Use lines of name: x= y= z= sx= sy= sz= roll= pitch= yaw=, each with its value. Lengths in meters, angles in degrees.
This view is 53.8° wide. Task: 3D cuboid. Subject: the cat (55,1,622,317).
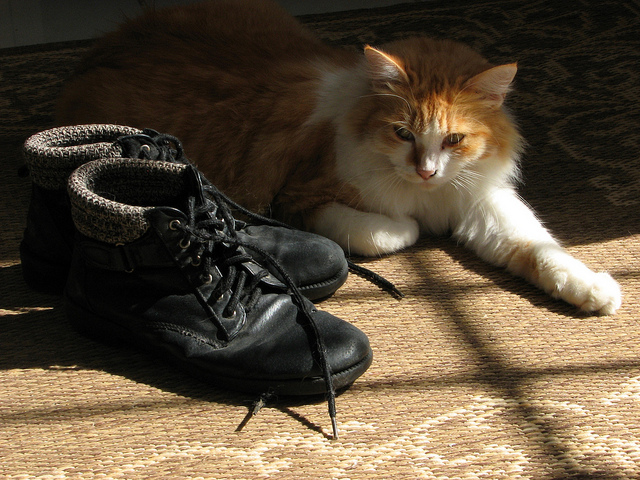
cat: x=-0.006 y=-0.283 z=1.894 sx=1.973 sy=0.508 sz=0.650 roll=16 pitch=39 yaw=13
